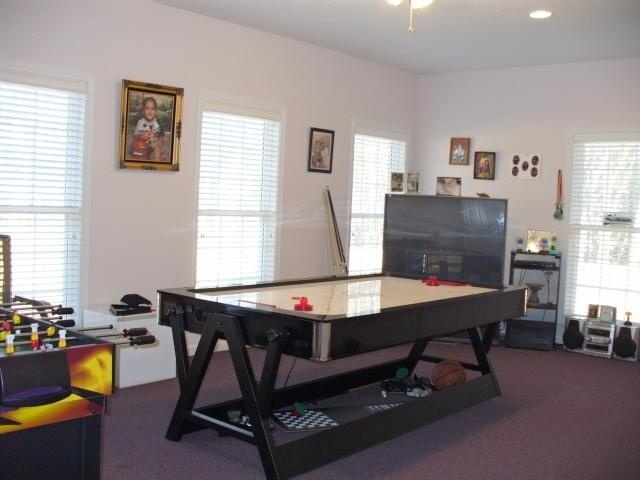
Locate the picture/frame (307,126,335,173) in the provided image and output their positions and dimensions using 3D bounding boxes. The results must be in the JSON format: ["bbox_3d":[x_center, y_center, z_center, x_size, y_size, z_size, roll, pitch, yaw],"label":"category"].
[{"bbox_3d":[-0.002,-1.080,5.772,0.046,0.664,0.582,15,11,38],"label":"picture/frame"}]

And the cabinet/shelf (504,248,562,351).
[{"bbox_3d":[2.643,0.790,6.064,0.800,1.395,0.656,5,5,22],"label":"cabinet/shelf"}]

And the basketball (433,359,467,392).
[{"bbox_3d":[1.062,1.100,4.038,0.242,0.237,0.228,-16,16,-7],"label":"basketball"}]

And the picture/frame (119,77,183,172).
[{"bbox_3d":[-1.592,-1.085,4.506,0.679,0.909,0.044,1,2,-43],"label":"picture/frame"}]
